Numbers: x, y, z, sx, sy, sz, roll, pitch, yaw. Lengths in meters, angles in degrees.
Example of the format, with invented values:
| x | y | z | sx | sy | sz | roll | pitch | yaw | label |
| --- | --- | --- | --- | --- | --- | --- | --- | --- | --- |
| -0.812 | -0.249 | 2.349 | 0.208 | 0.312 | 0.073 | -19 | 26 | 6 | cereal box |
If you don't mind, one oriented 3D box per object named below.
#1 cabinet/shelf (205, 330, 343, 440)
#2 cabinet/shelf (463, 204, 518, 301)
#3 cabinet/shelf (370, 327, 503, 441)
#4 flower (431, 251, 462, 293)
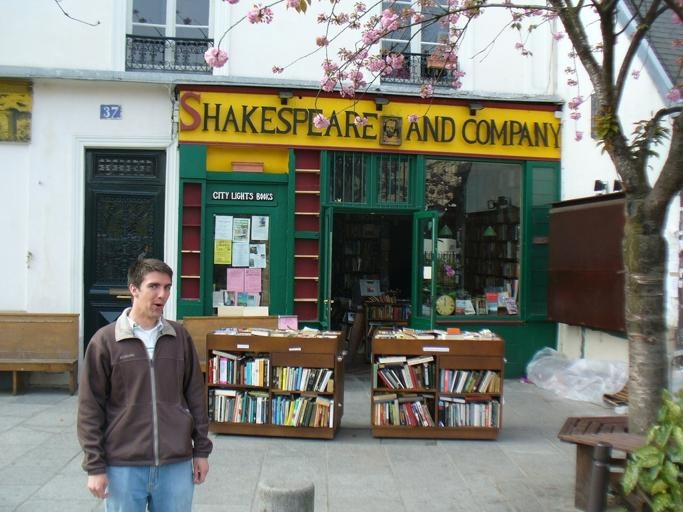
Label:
| x | y | z | sx | sy | sz | roll | pitch | yaw | label |
| --- | --- | --- | --- | --- | --- | --- | --- | --- | --- |
| -0.825 | 1.619 | 10.104 | 1.638 | 1.338 | 0.946 | 1 | 1 | 8 | cabinet/shelf |
| 2.406 | -0.085 | 12.748 | 0.857 | 1.656 | 0.242 | 0 | -8 | 17 | cabinet/shelf |
| 1.190 | 1.624 | 10.187 | 1.932 | 1.729 | 1.103 | 0 | -4 | 0 | cabinet/shelf |
| 1.697 | 0.266 | 12.444 | 0.444 | 0.649 | 0.102 | -3 | 9 | -21 | flower |
